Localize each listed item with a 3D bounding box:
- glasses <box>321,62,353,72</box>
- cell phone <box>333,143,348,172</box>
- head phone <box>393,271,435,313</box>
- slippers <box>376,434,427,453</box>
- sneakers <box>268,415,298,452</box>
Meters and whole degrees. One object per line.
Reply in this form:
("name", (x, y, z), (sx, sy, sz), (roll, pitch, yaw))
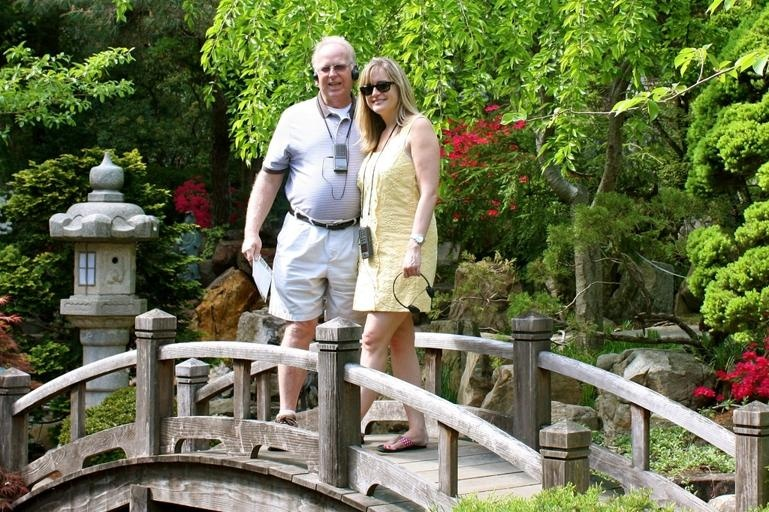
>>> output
("glasses", (-0.503, -1.860, 15.187), (0.271, 0.097, 0.042), (3, 10, -10))
("cell phone", (-0.441, -0.975, 15.220), (0.137, 0.282, 0.078), (2, 10, -14))
("head phone", (0.295, 0.354, 14.985), (0.464, 0.406, 0.183), (0, 11, -27))
("slippers", (0.167, 1.846, 15.260), (0.471, 0.134, 0.183), (0, -5, -9))
("sneakers", (-1.044, 1.725, 15.532), (0.190, 0.206, 0.530), (2, -8, -11))
